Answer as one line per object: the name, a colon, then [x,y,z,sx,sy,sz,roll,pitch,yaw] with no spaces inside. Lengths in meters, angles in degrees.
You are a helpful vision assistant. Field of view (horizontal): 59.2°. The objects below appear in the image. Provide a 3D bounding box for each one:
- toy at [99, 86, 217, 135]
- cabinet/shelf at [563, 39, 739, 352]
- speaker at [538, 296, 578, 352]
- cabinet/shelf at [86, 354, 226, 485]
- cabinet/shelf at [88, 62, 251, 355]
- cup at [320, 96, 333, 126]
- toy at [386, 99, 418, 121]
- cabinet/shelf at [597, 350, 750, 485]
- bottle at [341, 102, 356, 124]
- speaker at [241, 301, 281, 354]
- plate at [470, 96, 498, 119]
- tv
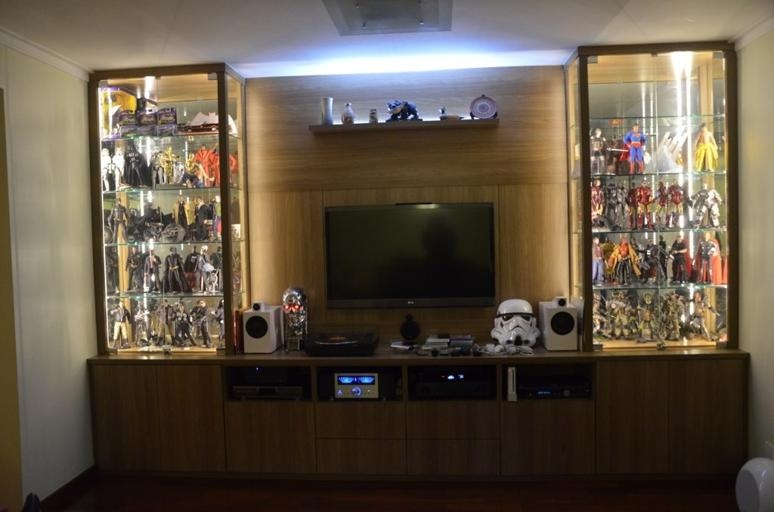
toy: [-1.862,-1.198,5.600,0.937,0.434,0.160,-1,3,11]
cabinet/shelf: [2.138,-0.464,5.459,1.229,2.393,0.349,-1,3,1]
speaker: [1.469,0.612,5.647,0.263,0.437,0.468,-2,-15,15]
cabinet/shelf: [-1.770,1.262,5.605,1.077,0.919,0.349,-1,6,10]
cabinet/shelf: [-1.823,-0.375,5.639,1.177,2.334,0.295,-1,3,5]
cup: [-0.487,-1.200,5.698,0.107,0.253,0.177,-2,3,-6]
toy: [0.143,-1.199,5.670,0.257,0.179,0.174,-1,3,2]
cabinet/shelf: [2.226,1.226,5.242,1.041,0.843,0.361,0,-3,2]
bottle: [-0.318,-1.183,5.685,0.105,0.216,0.207,-2,3,-1]
speaker: [-1.024,0.592,5.721,0.252,0.396,0.406,-2,0,3]
plate: [0.806,-1.212,5.628,0.226,0.203,0.142,-1,3,6]
tv: [0.196,0.000,5.692,1.437,0.859,0.082,-1,-2,5]
